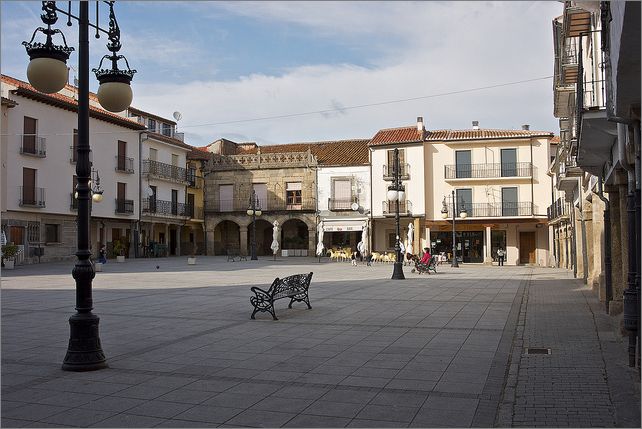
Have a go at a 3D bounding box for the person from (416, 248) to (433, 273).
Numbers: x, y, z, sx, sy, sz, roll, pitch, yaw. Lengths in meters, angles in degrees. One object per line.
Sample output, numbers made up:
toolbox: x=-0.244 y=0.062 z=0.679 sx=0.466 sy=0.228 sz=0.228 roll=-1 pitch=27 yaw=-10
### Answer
person: x=4.732 y=2.117 z=30.309 sx=0.774 sy=1.113 sz=2.533 roll=-3 pitch=-3 yaw=9

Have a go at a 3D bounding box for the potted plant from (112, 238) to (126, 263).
potted plant: x=-13.293 y=2.372 z=43.588 sx=1.306 sy=1.540 sz=1.202 roll=2 pitch=-6 yaw=-19
